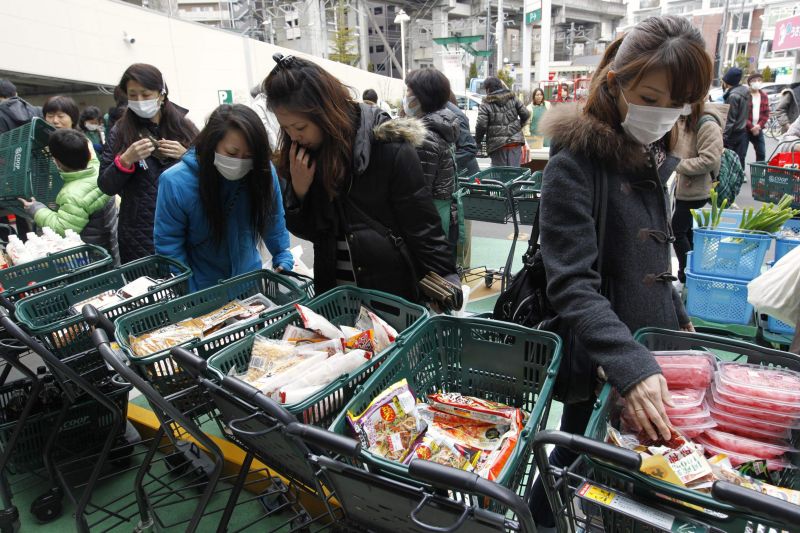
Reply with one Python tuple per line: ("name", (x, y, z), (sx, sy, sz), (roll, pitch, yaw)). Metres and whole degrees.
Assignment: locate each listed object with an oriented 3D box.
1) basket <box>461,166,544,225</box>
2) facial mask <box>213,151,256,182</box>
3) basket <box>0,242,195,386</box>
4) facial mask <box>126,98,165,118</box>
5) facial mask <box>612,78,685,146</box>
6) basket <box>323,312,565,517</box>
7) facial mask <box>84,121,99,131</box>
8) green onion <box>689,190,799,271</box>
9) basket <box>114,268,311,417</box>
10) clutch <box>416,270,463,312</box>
("basket", (1.136, -0.784, 5.473), (0.713, 0.319, 0.880), (6, 27, 23))
("facial mask", (-1.031, -0.615, 3.158), (0.213, 0.201, 0.193), (-15, 26, -29))
("basket", (-1.751, 0.322, 3.293), (1.047, 0.411, 0.692), (-29, 41, -31))
("facial mask", (-1.963, -1.213, 3.884), (0.167, 0.091, 0.165), (-3, 41, -2))
("facial mask", (1.067, -0.676, 2.186), (0.272, 0.292, 0.127), (7, 25, 19))
("basket", (0.255, 0.563, 2.225), (0.753, 0.484, 0.998), (13, 39, 27))
("facial mask", (-4.291, -1.955, 7.088), (0.143, 0.097, 0.128), (28, 40, 24))
("green onion", (2.825, -0.259, 4.182), (0.880, 0.394, 0.554), (-9, 14, -39))
("basket", (-1.010, 0.272, 2.871), (0.942, 0.429, 0.621), (-28, 36, -32))
("clutch", (0.217, 0.139, 2.864), (0.112, 0.269, 0.183), (-30, 54, 28))
